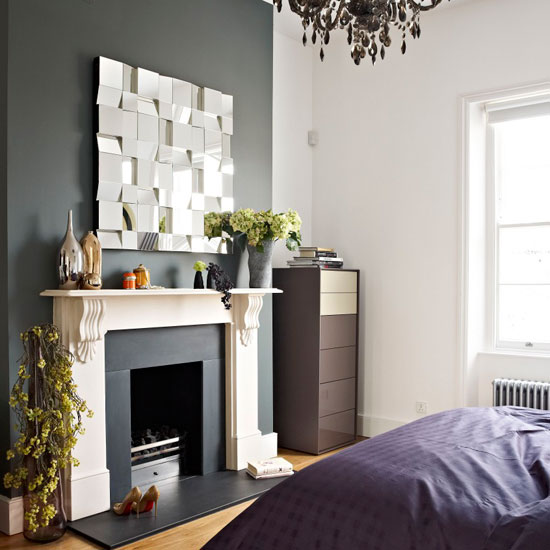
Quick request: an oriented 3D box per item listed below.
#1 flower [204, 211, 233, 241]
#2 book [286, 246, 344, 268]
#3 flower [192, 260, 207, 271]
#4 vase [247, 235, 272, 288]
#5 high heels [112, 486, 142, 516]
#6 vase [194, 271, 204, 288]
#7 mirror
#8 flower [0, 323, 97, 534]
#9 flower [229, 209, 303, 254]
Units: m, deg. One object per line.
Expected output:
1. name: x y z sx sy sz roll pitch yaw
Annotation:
1. flower: -0.364 -0.312 3.381 0.146 0.112 0.148 -11 6 -30
2. book: 0.298 -0.128 4.034 0.416 0.167 0.258 -2 2 9
3. flower: -0.463 -0.060 3.231 0.055 0.077 0.064 2 5 14
4. vase: -0.079 -0.065 3.497 0.197 0.421 0.234 -1 1 -3
5. high heels: -0.747 1.163 2.711 0.174 0.154 0.081 -20 -25 40
6. vase: -0.463 0.029 3.238 0.065 0.106 0.225 -2 2 -9
7. mirror: -0.657 -0.676 3.085 0.069 1.288 1.024 -1 -2 35
8. flower: -1.059 0.719 2.480 0.382 0.971 0.318 -3 2 -32
9. flower: -0.073 -0.265 3.397 0.296 0.256 0.288 -4 7 -42
